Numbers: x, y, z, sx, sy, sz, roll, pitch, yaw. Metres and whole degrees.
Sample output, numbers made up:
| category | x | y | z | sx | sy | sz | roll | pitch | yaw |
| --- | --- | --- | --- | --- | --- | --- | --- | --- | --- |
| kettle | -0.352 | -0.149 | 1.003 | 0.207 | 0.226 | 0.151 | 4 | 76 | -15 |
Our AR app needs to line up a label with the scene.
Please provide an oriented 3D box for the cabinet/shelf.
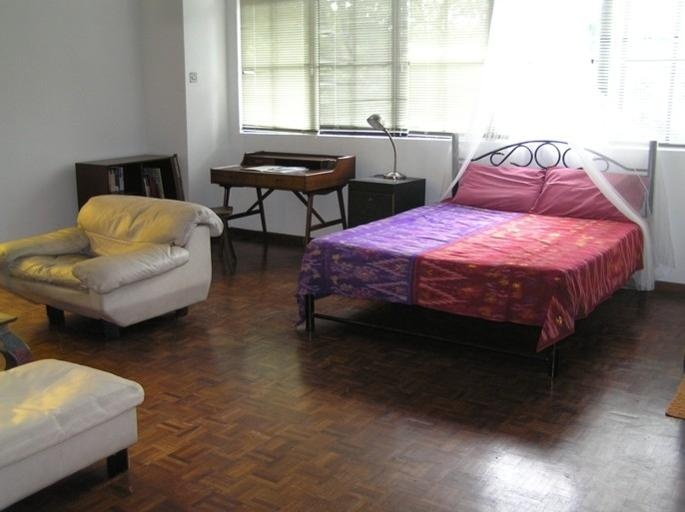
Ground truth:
| category | x | y | z | sx | sy | sz | roll | pitch | yaw |
| --- | --- | --- | --- | --- | --- | --- | --- | --- | --- |
| cabinet/shelf | -2.304 | -0.751 | 5.773 | 0.745 | 0.547 | 0.265 | -9 | 3 | -10 |

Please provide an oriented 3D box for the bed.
| category | x | y | z | sx | sy | sz | roll | pitch | yaw |
| --- | --- | --- | --- | --- | --- | --- | --- | --- | --- |
| bed | 1.237 | -0.215 | 4.092 | 2.213 | 1.017 | 2.727 | 8 | 18 | 31 |
